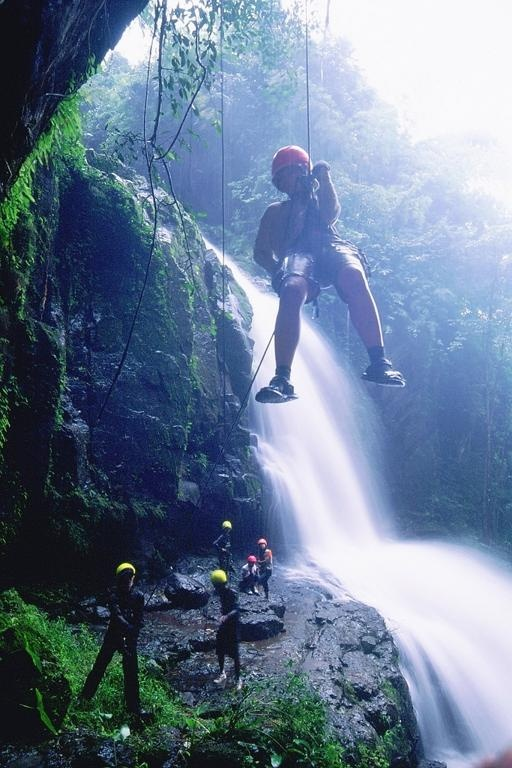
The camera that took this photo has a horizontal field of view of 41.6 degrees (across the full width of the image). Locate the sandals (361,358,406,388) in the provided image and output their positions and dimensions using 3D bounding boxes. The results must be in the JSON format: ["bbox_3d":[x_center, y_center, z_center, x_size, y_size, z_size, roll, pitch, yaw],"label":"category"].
[{"bbox_3d":[1.244,-0.087,6.530,0.329,0.253,0.243,12,25,15],"label":"sandals"}]

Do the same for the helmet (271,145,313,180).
[{"bbox_3d":[0.370,-2.282,7.057,0.318,0.286,0.335,-18,23,-15],"label":"helmet"}]

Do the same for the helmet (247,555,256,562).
[{"bbox_3d":[-0.102,3.627,13.861,0.155,0.159,0.232,1,-3,3],"label":"helmet"}]

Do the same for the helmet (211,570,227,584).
[{"bbox_3d":[-0.480,2.478,8.681,0.185,0.174,0.392,10,-7,-2],"label":"helmet"}]
